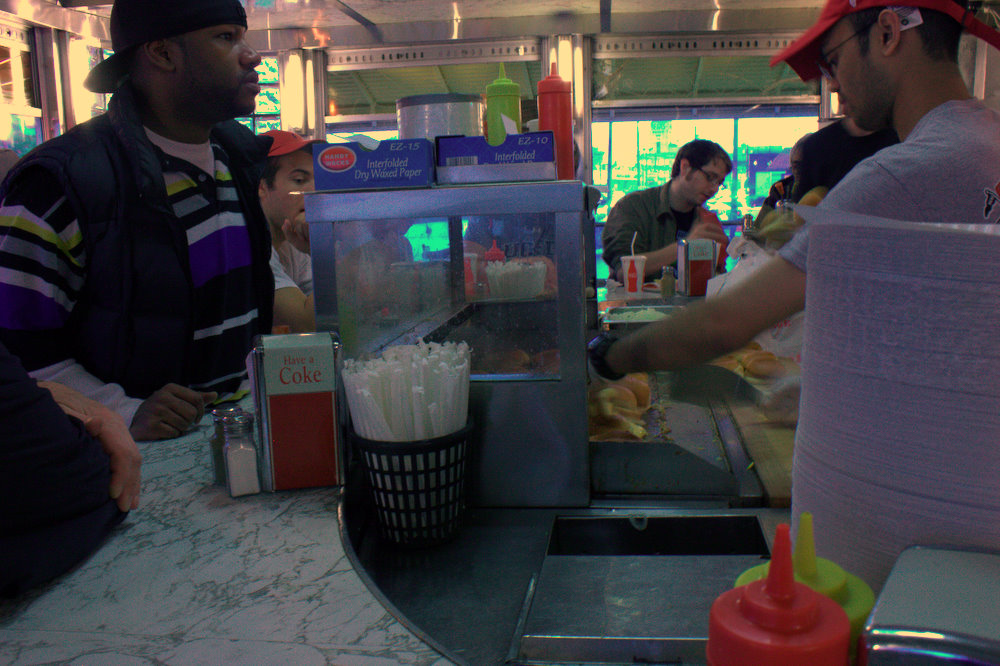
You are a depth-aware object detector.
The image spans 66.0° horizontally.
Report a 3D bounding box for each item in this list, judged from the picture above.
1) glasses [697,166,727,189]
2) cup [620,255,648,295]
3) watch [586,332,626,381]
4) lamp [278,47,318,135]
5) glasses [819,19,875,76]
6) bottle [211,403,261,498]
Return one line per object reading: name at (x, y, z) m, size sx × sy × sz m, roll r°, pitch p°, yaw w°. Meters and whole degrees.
glasses at (1.326, -0.952, 4.803) m, size 0.143 × 0.106 × 0.112 m, roll -25°, pitch -18°, yaw 9°
cup at (0.716, -0.311, 4.194) m, size 0.175 × 0.226 × 0.208 m, roll 0°, pitch 3°, yaw 30°
watch at (0.224, 0.054, 1.742) m, size 0.047 × 0.078 × 0.104 m, roll -5°, pitch 12°, yaw -21°
lamp at (-1.398, -1.658, 5.365) m, size 0.309 × 0.557 × 0.098 m, roll 3°, pitch 14°, yaw 24°
glasses at (0.674, -0.553, 1.502) m, size 0.071 × 0.021 × 0.067 m, roll -21°, pitch -8°, yaw 15°
bottle at (-0.548, 0.240, 1.601) m, size 0.085 × 0.152 × 0.179 m, roll -9°, pitch 14°, yaw -24°
